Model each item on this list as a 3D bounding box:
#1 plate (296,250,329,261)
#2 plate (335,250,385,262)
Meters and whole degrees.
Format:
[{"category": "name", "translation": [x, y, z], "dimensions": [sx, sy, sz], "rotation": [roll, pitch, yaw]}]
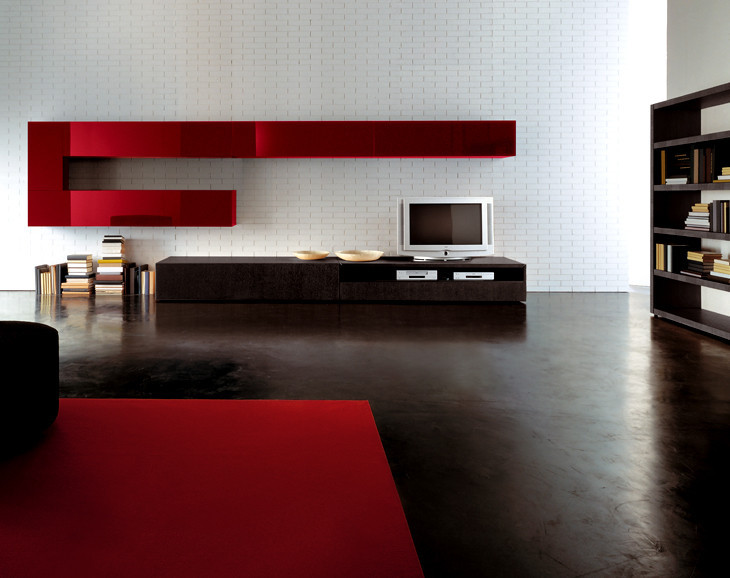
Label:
[{"category": "plate", "translation": [-0.602, -0.392, 6.644], "dimensions": [0.370, 0.090, 0.460], "rotation": [2, 10, -2]}, {"category": "plate", "translation": [-0.046, -0.382, 6.531], "dimensions": [0.476, 0.100, 0.679], "rotation": [3, 10, -1]}]
